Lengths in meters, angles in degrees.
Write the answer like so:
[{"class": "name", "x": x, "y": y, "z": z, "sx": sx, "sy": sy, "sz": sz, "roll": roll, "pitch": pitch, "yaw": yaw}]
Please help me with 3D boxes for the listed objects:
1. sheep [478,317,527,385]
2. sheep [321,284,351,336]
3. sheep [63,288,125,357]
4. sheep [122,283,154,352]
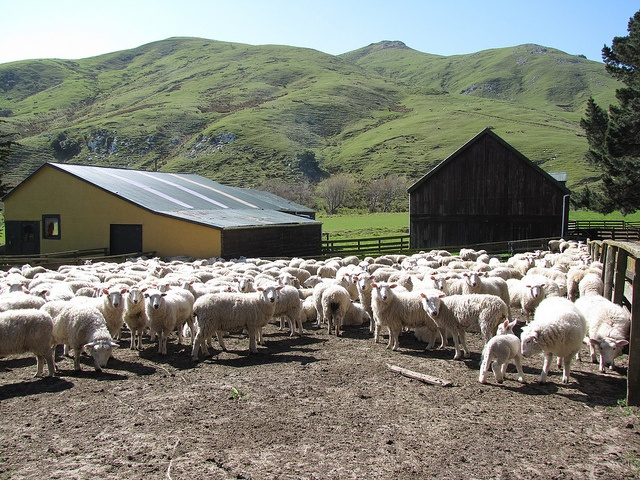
[{"class": "sheep", "x": 4.094, "y": 2.494, "z": 12.087, "sx": 0.856, "sy": 1.385, "sz": 1.147, "roll": 12, "pitch": 18, "yaw": 37}, {"class": "sheep", "x": 0.400, "y": 2.084, "z": 15.958, "sx": 0.760, "sy": 1.387, "sz": 1.049, "roll": 3, "pitch": 15, "yaw": 8}, {"class": "sheep", "x": -5.992, "y": 2.245, "z": 14.593, "sx": 2.389, "sy": 1.276, "sz": 0.892, "roll": -23, "pitch": -26, "yaw": 24}, {"class": "sheep", "x": -4.903, "y": 2.082, "z": 14.459, "sx": 0.633, "sy": 1.734, "sz": 0.690, "roll": -6, "pitch": 17, "yaw": -21}]
